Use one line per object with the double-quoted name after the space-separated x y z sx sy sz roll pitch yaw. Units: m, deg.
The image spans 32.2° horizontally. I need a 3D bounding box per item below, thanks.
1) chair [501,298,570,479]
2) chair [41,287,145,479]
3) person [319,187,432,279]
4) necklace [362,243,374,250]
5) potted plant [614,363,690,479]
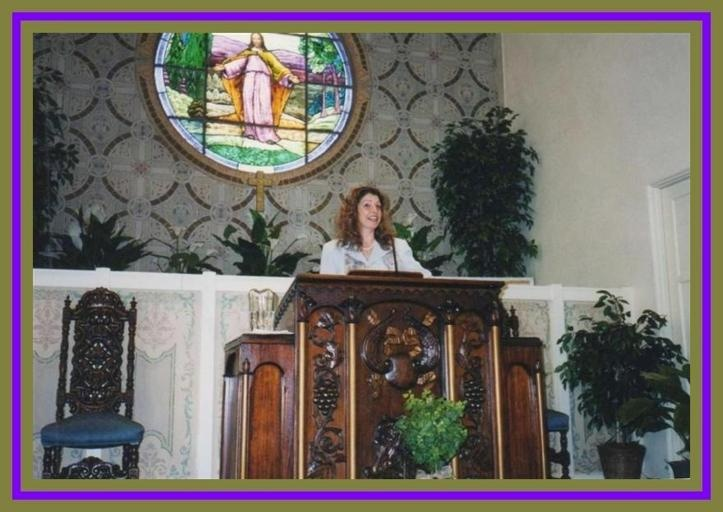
1.365 1.044 9.250 0.449 1.338 0.412 0 -6 -21 "chair"
-1.839 0.873 8.634 0.660 1.354 1.128 1 -11 -10 "chair"
0.053 -0.165 8.335 0.668 0.644 0.422 1 6 -7 "person"
0.032 -0.055 8.268 0.048 0.050 0.013 -1 -21 -11 "necklace"
2.075 1.155 8.855 0.494 0.854 0.973 -3 -12 13 "potted plant"
